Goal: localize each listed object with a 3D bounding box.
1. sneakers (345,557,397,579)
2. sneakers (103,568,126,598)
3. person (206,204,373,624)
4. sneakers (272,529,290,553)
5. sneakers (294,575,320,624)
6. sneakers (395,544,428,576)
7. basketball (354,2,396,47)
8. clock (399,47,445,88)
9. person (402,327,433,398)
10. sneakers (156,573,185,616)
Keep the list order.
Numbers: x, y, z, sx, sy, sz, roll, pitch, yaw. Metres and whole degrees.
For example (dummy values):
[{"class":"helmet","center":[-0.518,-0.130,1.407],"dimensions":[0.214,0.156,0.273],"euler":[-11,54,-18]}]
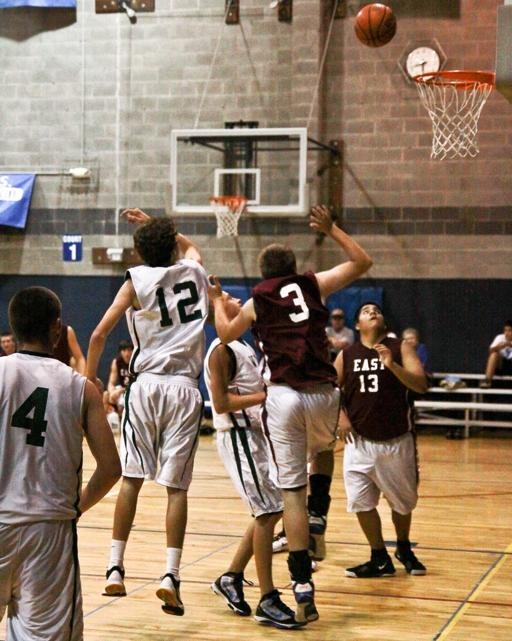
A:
[{"class":"sneakers","center":[0.582,1.240,5.879],"dimensions":[0.261,0.114,0.097],"euler":[0,0,0]},{"class":"sneakers","center":[-0.627,1.158,5.176],"dimensions":[0.069,0.078,0.175],"euler":[0,-23,-2]},{"class":"person","center":[0.143,0.388,5.156],"dimensions":[0.507,1.790,0.615],"euler":[0,2,29]},{"class":"sneakers","center":[0.130,1.186,6.265],"dimensions":[0.077,0.108,0.234],"euler":[-3,-13,9]},{"class":"sneakers","center":[0.208,1.192,4.904],"dimensions":[0.095,0.224,0.189],"euler":[-1,2,1]},{"class":"sneakers","center":[0.776,1.206,5.891],"dimensions":[0.078,0.149,0.231],"euler":[8,3,-29]},{"class":"basketball","center":[1.061,-2.667,10.373],"dimensions":[0.347,0.400,0.326],"euler":[0,2,36]},{"class":"clock","center":[1.778,-2.756,12.451],"dimensions":[0.487,0.410,0.128],"euler":[-1,2,8]},{"class":"person","center":[1.597,0.492,11.667],"dimensions":[0.287,0.847,0.298],"euler":[-6,6,22]},{"class":"sneakers","center":[-0.358,1.178,4.993],"dimensions":[0.085,0.097,0.207],"euler":[-4,-39,11]}]
